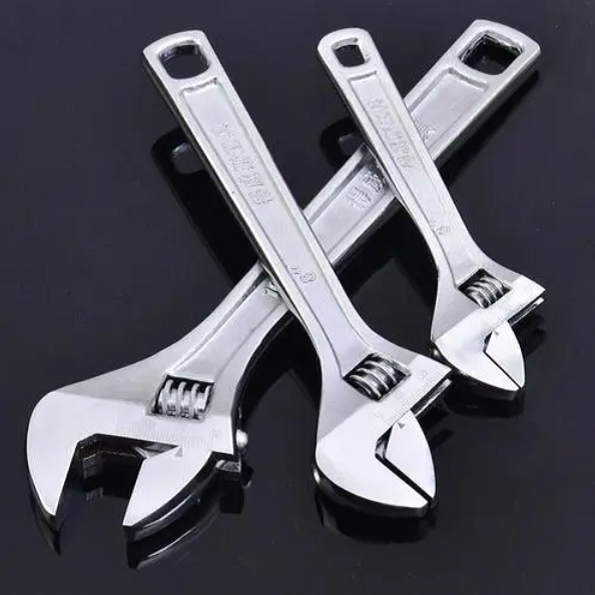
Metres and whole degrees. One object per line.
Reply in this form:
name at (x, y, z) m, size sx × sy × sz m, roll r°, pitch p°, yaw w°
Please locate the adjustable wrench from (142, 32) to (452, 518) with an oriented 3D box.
adjustable wrench at (-0.018, -0.064, 1.354) m, size 0.259 × 0.064 × 0.883 m, roll -16°, pitch 57°, yaw -17°
